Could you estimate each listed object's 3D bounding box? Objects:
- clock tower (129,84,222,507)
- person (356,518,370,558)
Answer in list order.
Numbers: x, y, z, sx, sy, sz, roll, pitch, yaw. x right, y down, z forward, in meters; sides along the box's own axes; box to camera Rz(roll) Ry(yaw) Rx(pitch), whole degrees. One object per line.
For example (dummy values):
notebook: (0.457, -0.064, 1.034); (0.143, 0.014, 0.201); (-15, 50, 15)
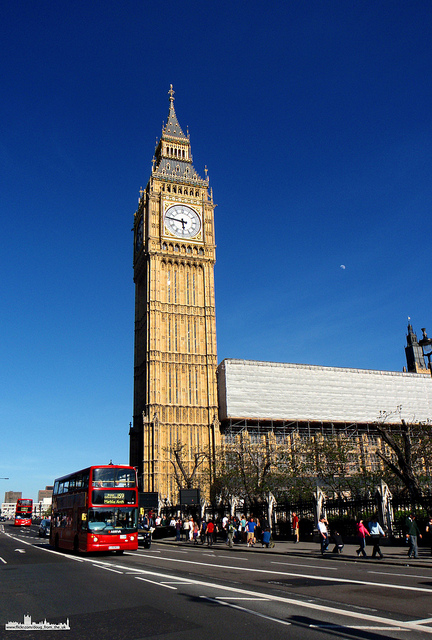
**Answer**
clock tower: (-7.224, -7.490, 93.741); (18.035, 68.237, 18.653); (-2, -9, 9)
person: (5.680, 8.469, 21.540); (0.543, 1.244, 1.438); (-8, -17, 11)
